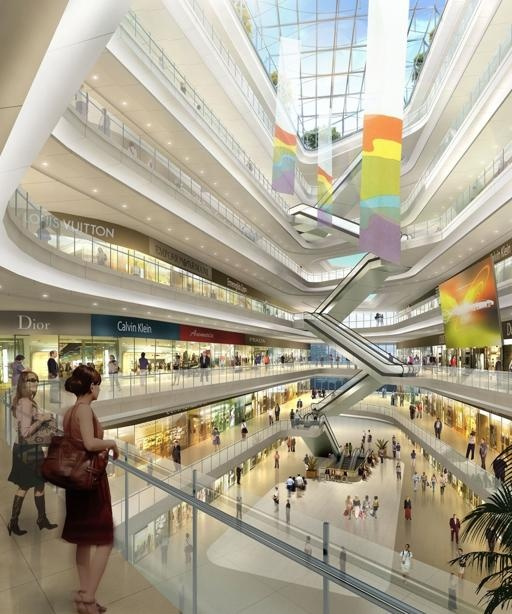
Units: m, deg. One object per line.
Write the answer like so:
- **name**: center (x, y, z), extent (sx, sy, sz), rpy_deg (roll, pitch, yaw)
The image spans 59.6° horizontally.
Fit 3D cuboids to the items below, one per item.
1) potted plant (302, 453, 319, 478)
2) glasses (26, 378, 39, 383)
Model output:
- **potted plant**: center (3.368, 9.045, 24.965), extent (0.706, 0.960, 0.751), rpy_deg (-2, -8, 5)
- **glasses**: center (-2.437, 0.770, 4.677), extent (0.079, 0.031, 0.071), rpy_deg (-4, -3, 18)
